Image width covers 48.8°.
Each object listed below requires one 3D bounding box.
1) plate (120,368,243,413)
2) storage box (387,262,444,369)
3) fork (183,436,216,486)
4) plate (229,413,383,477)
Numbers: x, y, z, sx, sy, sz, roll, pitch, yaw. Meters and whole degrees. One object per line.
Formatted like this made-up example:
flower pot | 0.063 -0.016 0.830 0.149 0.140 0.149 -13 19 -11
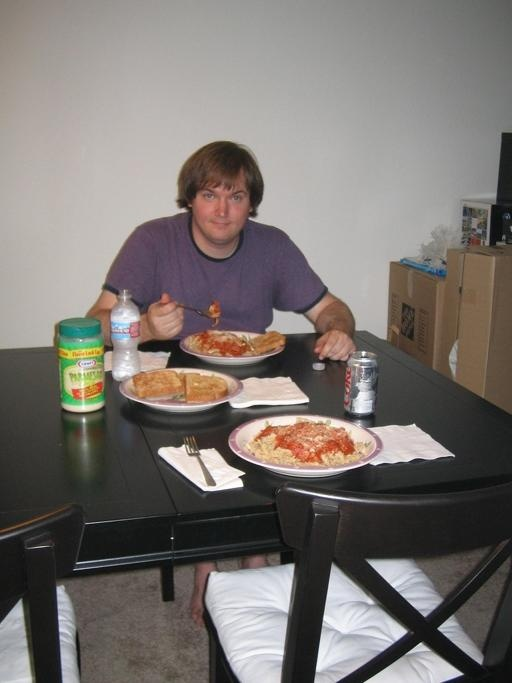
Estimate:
plate | -0.155 0.102 1.148 0.134 0.028 0.129 -5 16 -23
storage box | 0.800 -0.136 2.777 0.247 0.431 0.460 -4 21 -13
fork | -0.095 0.182 0.888 0.024 0.020 0.168 4 29 -21
plate | 0.079 0.170 0.929 0.249 0.046 0.221 0 10 -6
